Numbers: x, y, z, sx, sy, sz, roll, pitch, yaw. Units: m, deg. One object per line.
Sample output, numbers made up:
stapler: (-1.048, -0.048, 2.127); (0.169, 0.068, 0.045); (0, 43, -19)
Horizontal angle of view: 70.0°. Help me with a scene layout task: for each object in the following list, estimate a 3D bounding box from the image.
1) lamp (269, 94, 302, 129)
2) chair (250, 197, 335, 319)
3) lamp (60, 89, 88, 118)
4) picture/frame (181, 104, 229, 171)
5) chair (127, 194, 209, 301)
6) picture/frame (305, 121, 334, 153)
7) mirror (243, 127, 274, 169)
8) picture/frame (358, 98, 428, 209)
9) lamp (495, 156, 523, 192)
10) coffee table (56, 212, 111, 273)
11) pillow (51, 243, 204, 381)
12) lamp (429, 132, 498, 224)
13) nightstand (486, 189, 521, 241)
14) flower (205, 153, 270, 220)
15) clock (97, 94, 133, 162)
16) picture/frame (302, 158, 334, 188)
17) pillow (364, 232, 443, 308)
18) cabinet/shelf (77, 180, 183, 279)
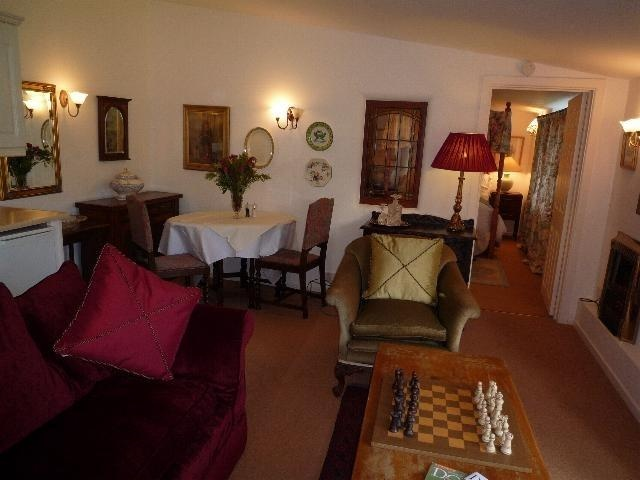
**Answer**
lamp: (-0.335, -1.393, 5.187); (0.324, 0.387, 0.254); (4, 1, 18)
chair: (-0.275, 0.112, 4.804); (0.713, 1.233, 0.697); (12, 13, 37)
lamp: (-2.545, -1.404, 4.677); (0.275, 0.358, 0.179); (5, 10, 13)
picture/frame: (-1.336, -1.239, 5.378); (0.738, 1.067, 0.108); (4, 12, 7)
chair: (-1.490, 0.134, 4.559); (0.695, 1.187, 0.751); (5, 10, 37)
picture/frame: (-0.003, -1.160, 5.141); (0.313, 0.328, 0.083); (8, 15, 21)
mirror: (-0.684, -1.067, 5.324); (0.348, 0.478, 0.027); (-13, 19, -31)
picture/frame: (0.776, -0.957, 5.044); (0.655, 1.259, 0.084); (3, 38, 5)
lamp: (3.383, -1.188, 8.273); (0.419, 0.634, 0.421); (4, 6, 18)
coffee table: (-2.113, 0.004, 4.088); (0.236, 0.448, 0.406); (28, 35, 28)
pillow: (-1.050, 0.474, 2.660); (0.663, 0.211, 0.714); (22, 42, -21)
lamp: (1.429, -0.578, 4.526); (0.443, 0.938, 0.523); (-7, 16, -33)
nightstand: (3.432, -0.483, 8.415); (0.509, 0.777, 0.564); (1, 17, 3)
flower: (-0.888, -0.640, 4.923); (0.597, 0.620, 0.611); (9, 16, 11)
clock: (-2.340, -1.281, 5.173); (0.089, 0.896, 0.668); (6, 10, 20)
picture/frame: (-0.017, -0.767, 5.206); (0.297, 0.328, 0.074); (8, 11, 16)
pillow: (0.680, 0.255, 3.708); (0.642, 0.213, 0.776); (14, 60, 8)
cabinet/shelf: (-2.126, 0.001, 5.285); (0.449, 1.069, 1.070); (10, 17, 20)
